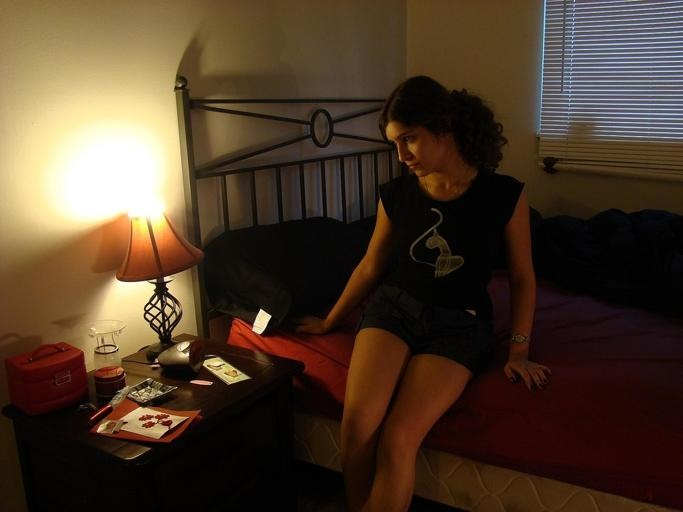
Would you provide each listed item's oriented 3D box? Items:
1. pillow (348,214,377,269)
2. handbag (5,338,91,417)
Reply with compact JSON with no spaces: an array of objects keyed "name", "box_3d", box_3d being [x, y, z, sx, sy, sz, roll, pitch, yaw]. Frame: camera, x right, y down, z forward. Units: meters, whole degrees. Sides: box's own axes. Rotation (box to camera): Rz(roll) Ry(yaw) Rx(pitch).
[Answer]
[{"name":"pillow","box_3d":[0.098,-0.055,2.522,0.187,0.061,0.271,33,45,-26]},{"name":"handbag","box_3d":[-0.820,0.347,1.512,0.184,0.196,0.198,4,10,36]}]
